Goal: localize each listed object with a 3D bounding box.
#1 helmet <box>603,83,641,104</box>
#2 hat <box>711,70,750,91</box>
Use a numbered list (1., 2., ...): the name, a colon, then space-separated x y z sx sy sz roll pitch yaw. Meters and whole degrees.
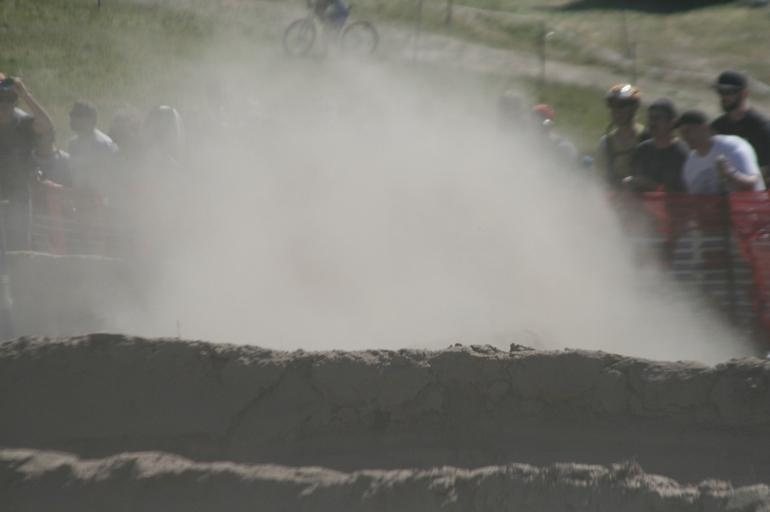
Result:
1. helmet: 2.465 -1.662 17.512 0.209 0.142 0.249 -1 -1 44
2. hat: 3.535 -1.760 17.403 0.326 0.233 0.199 12 37 1
